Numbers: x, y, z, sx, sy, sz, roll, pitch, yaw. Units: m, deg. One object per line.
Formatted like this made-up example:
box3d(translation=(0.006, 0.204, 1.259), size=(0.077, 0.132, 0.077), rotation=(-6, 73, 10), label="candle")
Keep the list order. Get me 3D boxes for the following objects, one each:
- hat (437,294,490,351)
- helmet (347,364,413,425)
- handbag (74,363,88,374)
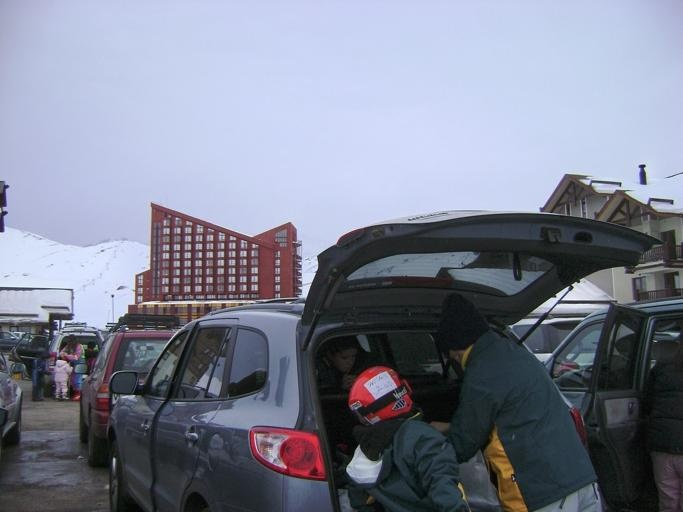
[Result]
box3d(translation=(0.699, 0.412, 3.530), size=(0.271, 0.350, 0.113), rotation=(-9, -7, -1), label="hat")
box3d(translation=(0.247, 0.800, 3.364), size=(0.359, 0.316, 0.279), rotation=(-32, -15, 2), label="helmet")
box3d(translation=(-3.967, 1.714, 8.749), size=(0.203, 0.225, 0.065), rotation=(1, -5, 0), label="handbag")
